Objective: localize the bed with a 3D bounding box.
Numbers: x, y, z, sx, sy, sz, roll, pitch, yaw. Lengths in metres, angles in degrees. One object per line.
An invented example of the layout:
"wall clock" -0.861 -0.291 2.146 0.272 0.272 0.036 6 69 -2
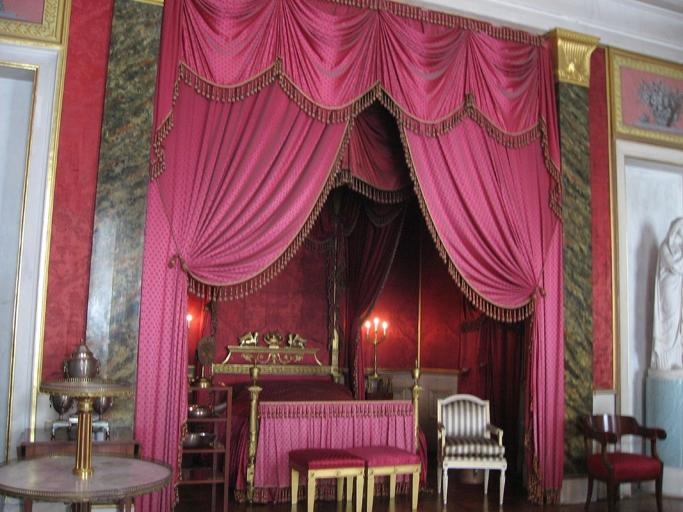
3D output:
"bed" -0.514 1.729 8.840 1.373 1.493 1.909 1 -9 -13

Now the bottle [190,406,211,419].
"bottle" -1.304 1.454 7.395 0.173 0.117 0.259 1 -14 -2

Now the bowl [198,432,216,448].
"bowl" -1.225 1.691 7.310 0.113 0.121 0.188 -4 -14 18

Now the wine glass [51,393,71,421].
"wine glass" -2.317 1.263 6.594 0.191 0.192 0.277 6 -14 -22

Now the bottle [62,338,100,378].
"bottle" -2.141 0.841 6.563 0.237 0.335 0.272 0 -3 -10

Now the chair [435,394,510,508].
"chair" 1.371 2.021 8.428 0.702 1.144 1.033 -2 -12 10
